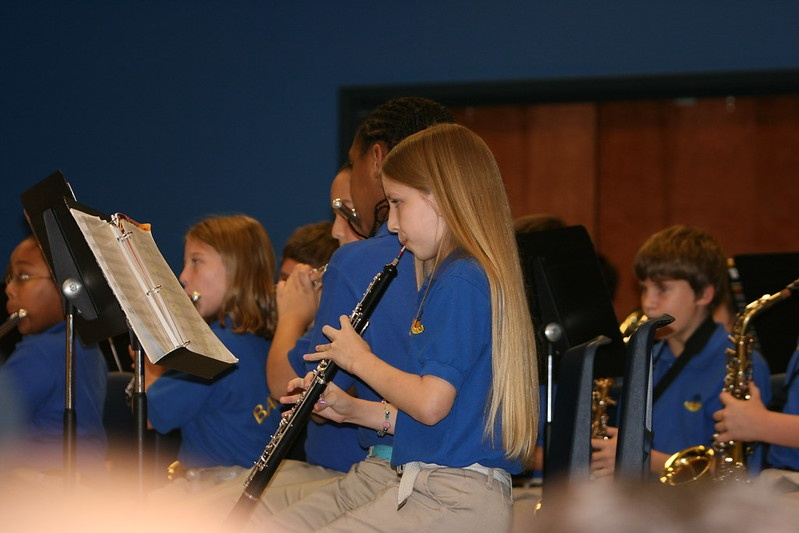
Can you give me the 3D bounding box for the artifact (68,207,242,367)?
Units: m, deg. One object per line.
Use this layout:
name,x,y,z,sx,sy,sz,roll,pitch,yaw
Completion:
artifact,-1.077,0.131,3.317,0.204,0.742,0.567,-30,-14,21

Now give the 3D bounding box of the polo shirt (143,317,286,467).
polo shirt,-0.892,0.620,3.792,0.374,0.595,0.655,-9,-25,35

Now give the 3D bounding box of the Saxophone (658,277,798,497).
Saxophone,1.659,0.579,3.890,0.565,0.968,0.458,5,-6,-34

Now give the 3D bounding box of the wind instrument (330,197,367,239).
wind instrument,-0.255,-0.253,4.001,0.063,0.198,0.201,-35,-11,-27

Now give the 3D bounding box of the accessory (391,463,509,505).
accessory,0.193,0.831,3.096,0.263,0.156,0.225,11,-22,0

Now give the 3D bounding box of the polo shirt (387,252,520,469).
polo shirt,0.286,0.384,3.613,0.697,1.142,1.040,2,-8,4

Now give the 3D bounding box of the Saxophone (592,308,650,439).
Saxophone,1.105,0.550,3.938,0.266,0.675,1.118,0,-5,17

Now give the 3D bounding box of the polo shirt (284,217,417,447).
polo shirt,-0.141,0.173,3.492,0.207,1.445,0.281,5,-25,19
